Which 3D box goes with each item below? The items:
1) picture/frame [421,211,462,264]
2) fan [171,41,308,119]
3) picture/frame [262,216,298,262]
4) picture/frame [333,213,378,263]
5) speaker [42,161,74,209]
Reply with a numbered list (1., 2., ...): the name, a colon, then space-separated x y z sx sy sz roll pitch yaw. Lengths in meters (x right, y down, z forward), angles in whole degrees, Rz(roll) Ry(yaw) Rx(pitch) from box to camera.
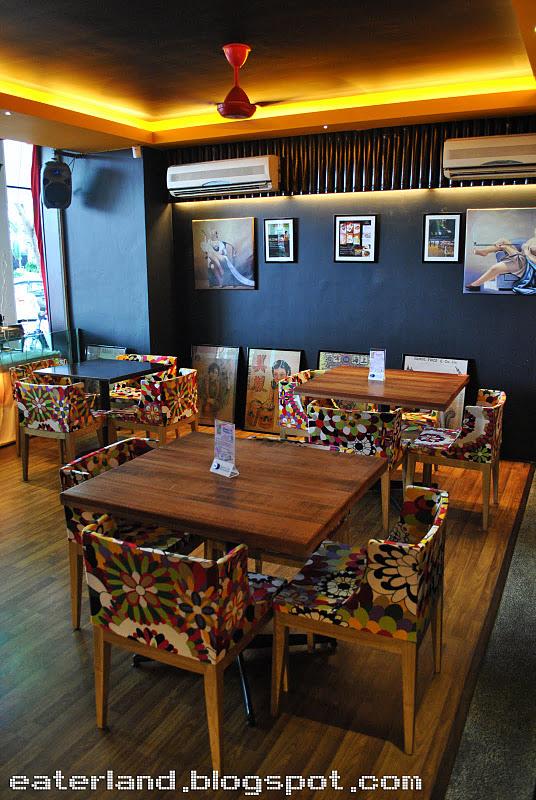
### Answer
1. picture/frame: 1.623 -1.513 5.193 0.448 0.600 0.043 7 15 31
2. fan: -0.154 -1.996 3.553 0.597 0.399 0.493 -16 39 -29
3. picture/frame: 0.143 -1.737 6.009 0.491 0.629 0.050 3 14 20
4. picture/frame: 0.894 -1.627 5.602 0.482 0.514 0.053 7 15 19
5. speaker: -2.310 -2.372 6.145 0.282 0.518 0.190 -3 5 -24
